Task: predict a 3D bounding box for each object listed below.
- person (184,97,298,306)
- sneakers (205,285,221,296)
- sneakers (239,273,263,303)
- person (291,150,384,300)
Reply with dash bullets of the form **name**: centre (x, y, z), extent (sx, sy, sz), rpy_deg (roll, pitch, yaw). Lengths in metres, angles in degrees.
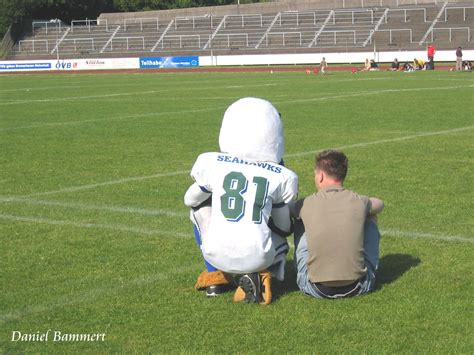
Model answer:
- **person**: centre (0.090, 0.239, 6.375), extent (1.092, 2.231, 1.451), rpy_deg (0, 14, -18)
- **sneakers**: centre (-0.244, 1.152, 6.145), extent (0.121, 0.106, 0.096), rpy_deg (-24, 15, -13)
- **sneakers**: centre (0.124, 1.090, 5.959), extent (0.126, 0.418, 0.172), rpy_deg (1, 11, 24)
- **person**: centre (0.974, 0.414, 6.341), extent (0.840, 1.500, 1.410), rpy_deg (0, 23, 8)
